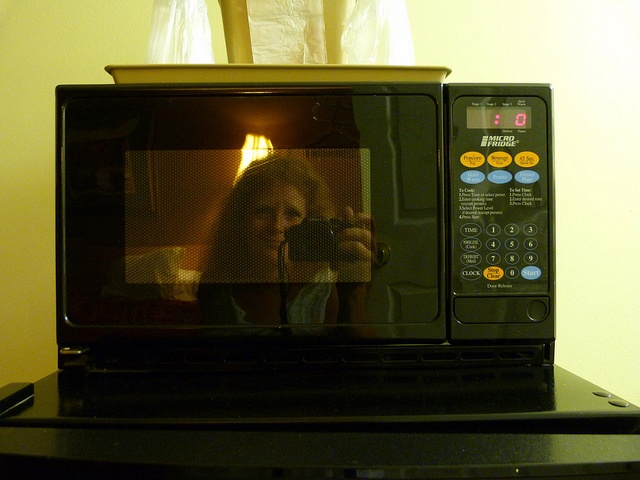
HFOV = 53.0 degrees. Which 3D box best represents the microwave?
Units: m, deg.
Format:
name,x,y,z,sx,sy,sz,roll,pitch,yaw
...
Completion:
name,x,y,z,sx,sy,sz,roll,pitch,yaw
microwave,-0.023,-0.017,1.230,0.841,0.462,0.445,-1,2,-1
